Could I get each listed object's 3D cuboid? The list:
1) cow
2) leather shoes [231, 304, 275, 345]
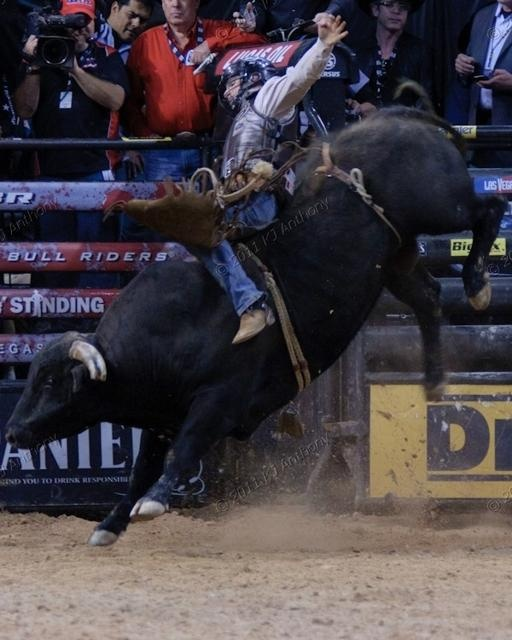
[{"bbox_3d":[0.083,-0.113,5.087,2.360,1.989,0.596,0,4,-23],"label":"cow"},{"bbox_3d":[-0.005,0.002,4.889,0.102,0.109,0.290,-7,11,46],"label":"leather shoes"}]
